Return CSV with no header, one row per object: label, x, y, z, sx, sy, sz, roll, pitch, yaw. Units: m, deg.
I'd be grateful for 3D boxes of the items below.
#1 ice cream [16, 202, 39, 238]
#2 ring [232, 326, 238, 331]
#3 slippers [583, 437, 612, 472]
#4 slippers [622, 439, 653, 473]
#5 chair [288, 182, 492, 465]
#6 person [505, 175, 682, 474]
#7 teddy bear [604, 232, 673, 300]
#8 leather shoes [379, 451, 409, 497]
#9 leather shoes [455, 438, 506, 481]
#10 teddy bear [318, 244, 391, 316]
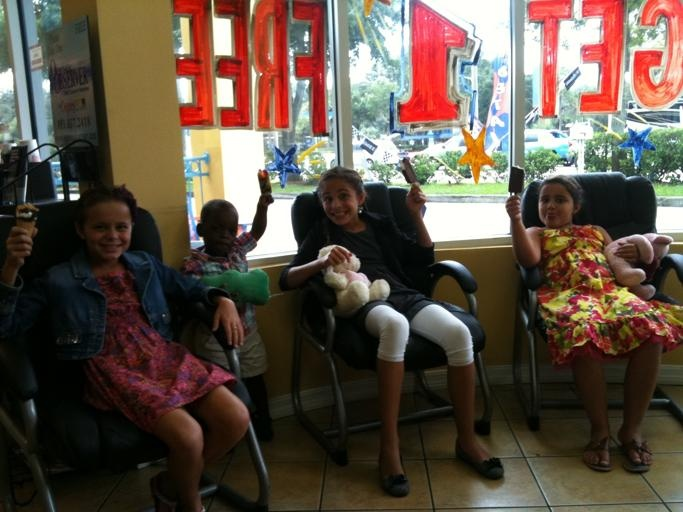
ice cream,-1.036,-0.115,1.854,0.059,0.112,0.090,-11,14,-29
ring,-0.393,0.268,2.066,0.019,0.019,0.017,-1,2,12
slippers,1.093,0.844,2.390,0.066,0.073,0.182,-2,1,20
slippers,1.259,0.846,2.388,0.075,0.066,0.164,-4,8,9
chair,0.265,0.274,2.543,0.681,1.225,0.847,-15,16,-43
person,1.221,0.247,2.595,0.590,1.185,0.732,-6,12,-10
teddy bear,1.445,0.020,2.737,0.291,0.315,0.269,20,-15,16
leather shoes,0.219,0.895,2.306,0.120,0.123,0.138,-4,12,0
leather shoes,0.600,0.869,2.424,0.084,0.079,0.212,-11,10,-30
teddy bear,0.040,0.086,2.589,0.250,0.354,0.297,9,-23,-38
